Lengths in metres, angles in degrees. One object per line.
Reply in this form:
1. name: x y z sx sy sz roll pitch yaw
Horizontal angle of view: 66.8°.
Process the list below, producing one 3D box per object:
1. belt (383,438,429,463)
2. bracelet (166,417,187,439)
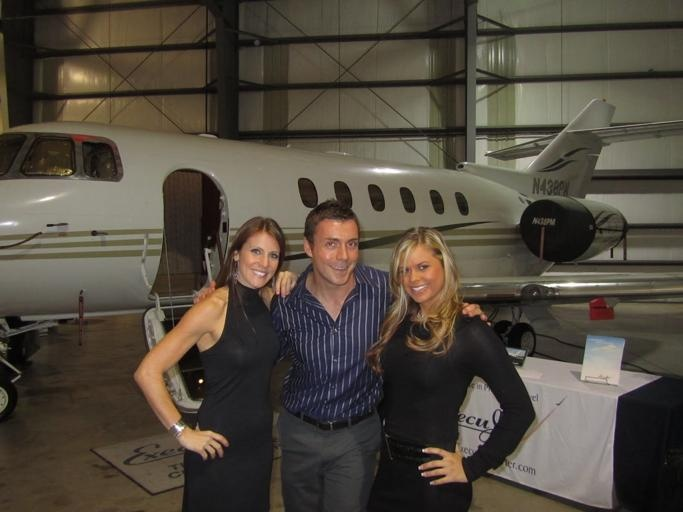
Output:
1. belt: 0.436 1.269 3.371 0.174 0.130 0.019 7 0 35
2. bracelet: -1.017 1.081 3.228 0.112 0.088 0.130 -32 15 38
